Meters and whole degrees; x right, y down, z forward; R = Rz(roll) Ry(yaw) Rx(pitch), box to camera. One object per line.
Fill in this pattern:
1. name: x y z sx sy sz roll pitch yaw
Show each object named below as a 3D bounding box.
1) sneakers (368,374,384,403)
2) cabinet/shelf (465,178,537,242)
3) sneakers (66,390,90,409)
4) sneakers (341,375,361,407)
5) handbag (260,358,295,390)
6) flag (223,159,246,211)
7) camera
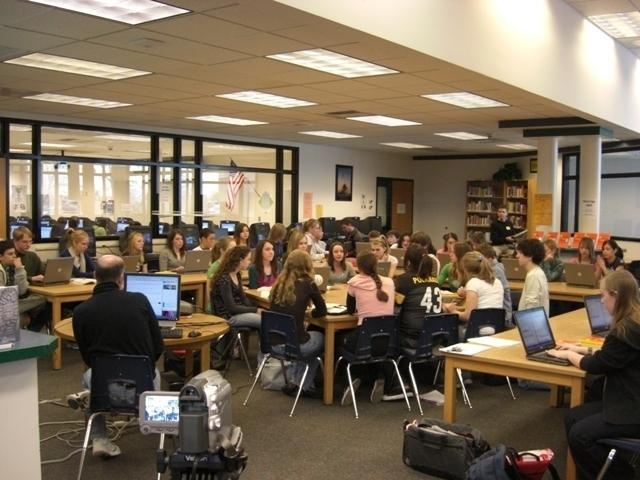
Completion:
1. sneakers: 0.572 1.515 5.164 0.095 0.263 0.108 8 -2 -21
2. cabinet/shelf: 5.417 -0.927 15.174 1.480 1.354 0.347 -1 11 29
3. sneakers: -1.741 1.140 3.593 0.185 0.125 0.083 -15 13 22
4. sneakers: 0.278 1.488 5.027 0.120 0.325 0.129 17 1 38
5. handbag: -0.470 1.429 5.480 0.373 0.353 0.191 9 9 -10
6. flag: -2.083 -1.221 12.420 0.130 0.975 0.541 6 7 40
7. camera: -0.597 0.797 2.440 0.424 0.329 0.314 0 -1 24
